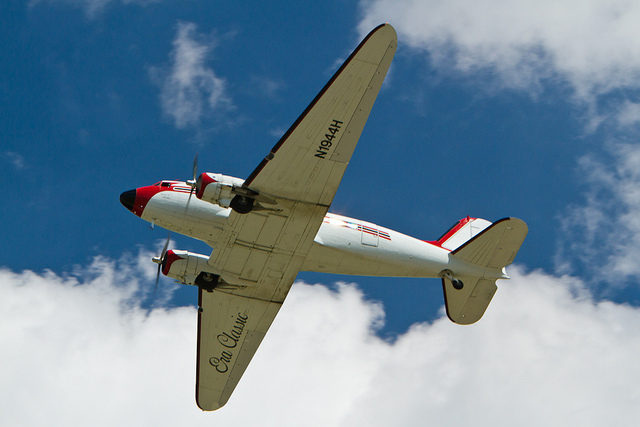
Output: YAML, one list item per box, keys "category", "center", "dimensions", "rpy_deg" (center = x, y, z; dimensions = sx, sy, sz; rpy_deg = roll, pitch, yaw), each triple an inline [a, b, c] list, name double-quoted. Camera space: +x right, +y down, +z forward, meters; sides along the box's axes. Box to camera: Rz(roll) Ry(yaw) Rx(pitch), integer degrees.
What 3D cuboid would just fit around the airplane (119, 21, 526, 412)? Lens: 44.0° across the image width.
- category: "airplane"
  center: [-0.712, 2.081, 46.251]
  dimensions: [19.975, 3.790, 16.837]
  rpy_deg: [-29, -69, 12]
